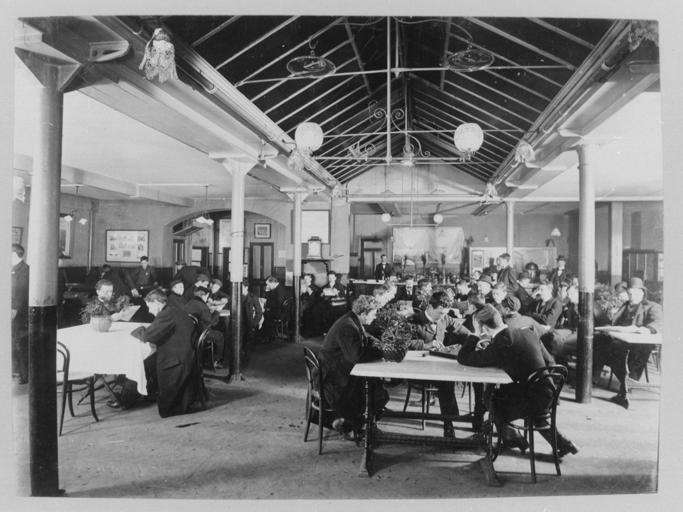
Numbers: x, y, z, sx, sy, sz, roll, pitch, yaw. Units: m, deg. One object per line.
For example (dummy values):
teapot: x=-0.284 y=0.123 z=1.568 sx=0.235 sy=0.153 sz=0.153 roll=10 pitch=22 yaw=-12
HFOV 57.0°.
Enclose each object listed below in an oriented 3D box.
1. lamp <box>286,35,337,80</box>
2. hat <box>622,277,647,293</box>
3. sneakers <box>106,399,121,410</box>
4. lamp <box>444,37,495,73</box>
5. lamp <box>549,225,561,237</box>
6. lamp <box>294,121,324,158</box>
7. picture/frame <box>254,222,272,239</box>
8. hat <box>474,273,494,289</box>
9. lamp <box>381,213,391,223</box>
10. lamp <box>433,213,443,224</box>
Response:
lamp: x=-0.402 y=-2.495 z=7.883 sx=0.576 sy=0.528 sz=0.794 roll=1 pitch=-2 yaw=-6
hat: x=4.226 y=0.405 z=8.948 sx=0.332 sy=0.157 sz=0.394 roll=3 pitch=-1 yaw=44
sneakers: x=-2.977 y=1.923 z=8.115 sx=0.122 sy=0.052 sz=0.171 roll=4 pitch=-2 yaw=-1
lamp: x=1.520 y=-2.296 z=7.386 sx=0.533 sy=0.128 sz=0.542 roll=-9 pitch=34 yaw=-1
lamp: x=4.759 y=-0.534 z=13.928 sx=0.197 sy=0.220 sz=0.199 roll=0 pitch=0 yaw=29
lamp: x=-0.435 y=-1.460 z=7.975 sx=0.408 sy=0.504 sz=0.420 roll=0 pitch=-1 yaw=-5
picture/frame: x=-2.099 y=-0.675 z=16.556 sx=0.415 sy=0.417 sz=0.031 roll=0 pitch=-3 yaw=4
hat: x=2.411 y=0.422 z=10.574 sx=0.317 sy=0.199 sz=0.370 roll=14 pitch=-5 yaw=-2
lamp: x=0.958 y=-0.789 z=13.371 sx=0.225 sy=0.156 sz=0.230 roll=-4 pitch=8 yaw=-15
lamp: x=2.030 y=-0.776 z=13.164 sx=0.196 sy=0.211 sz=0.204 roll=-1 pitch=-5 yaw=-1
